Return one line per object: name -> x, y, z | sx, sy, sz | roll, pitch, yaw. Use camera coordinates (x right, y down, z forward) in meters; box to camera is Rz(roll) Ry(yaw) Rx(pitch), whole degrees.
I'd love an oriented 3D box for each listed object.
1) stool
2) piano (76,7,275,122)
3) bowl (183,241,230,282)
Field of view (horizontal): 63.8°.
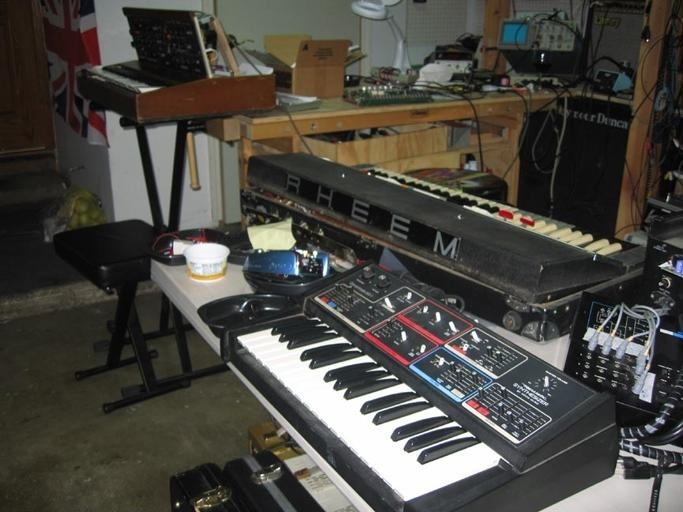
stool -> -1.095, 0.276, 2.695 | 0.512, 0.763, 0.535 | -16, 28, -27
piano -> -0.784, -1.159, 2.709 | 0.703, 0.495, 0.951 | -18, 35, -35
bowl -> -0.457, 0.020, 1.843 | 0.205, 0.091, 0.206 | 7, 3, 0
